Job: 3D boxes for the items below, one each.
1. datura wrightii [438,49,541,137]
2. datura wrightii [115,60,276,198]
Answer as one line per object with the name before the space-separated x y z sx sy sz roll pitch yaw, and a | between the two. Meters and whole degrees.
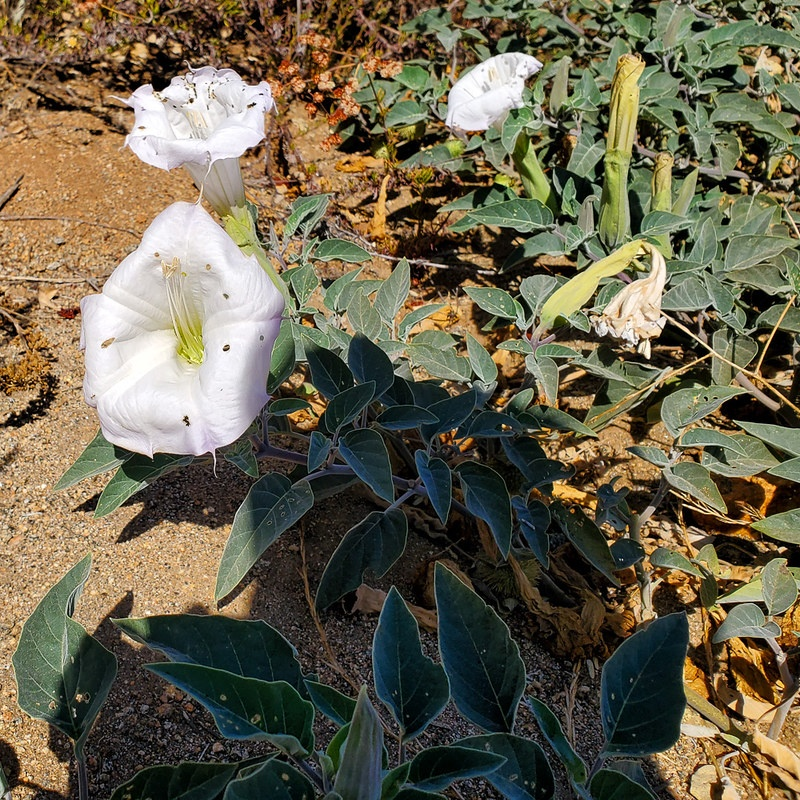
datura wrightii | 0.229 -0.824 2.341 0.233 0.192 0.166 -16 47 -28
datura wrightii | -0.449 -0.570 1.972 0.314 0.267 0.404 -2 40 -14
